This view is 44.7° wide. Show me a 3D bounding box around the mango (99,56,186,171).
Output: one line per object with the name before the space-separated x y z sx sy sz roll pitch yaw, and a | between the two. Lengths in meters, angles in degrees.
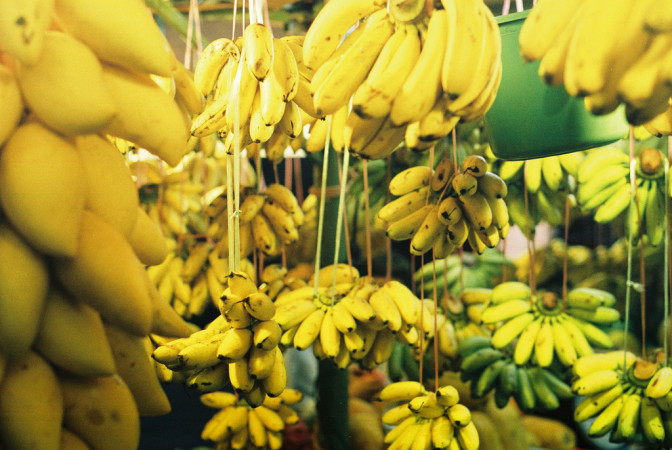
mango | -0.447 -0.304 1.779 0.147 0.098 0.313 -41 43 -13

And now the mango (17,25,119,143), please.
mango | -0.550 -0.294 1.659 0.084 0.216 0.158 -8 18 -26

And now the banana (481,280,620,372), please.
banana | 0.541 0.253 2.158 0.221 0.175 0.365 -9 7 -33

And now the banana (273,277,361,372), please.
banana | -0.034 0.218 1.826 0.163 0.068 0.158 16 45 23

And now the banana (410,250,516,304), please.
banana | 0.419 0.145 2.588 0.183 0.212 0.385 -6 -2 -16

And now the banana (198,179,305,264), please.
banana | -0.206 -0.012 2.078 0.242 0.180 0.225 -6 6 -7

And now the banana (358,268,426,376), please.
banana | 0.082 0.228 1.945 0.208 0.169 0.433 -13 -4 3

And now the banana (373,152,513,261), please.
banana | 0.237 -0.044 1.766 0.212 0.170 0.247 11 18 17
